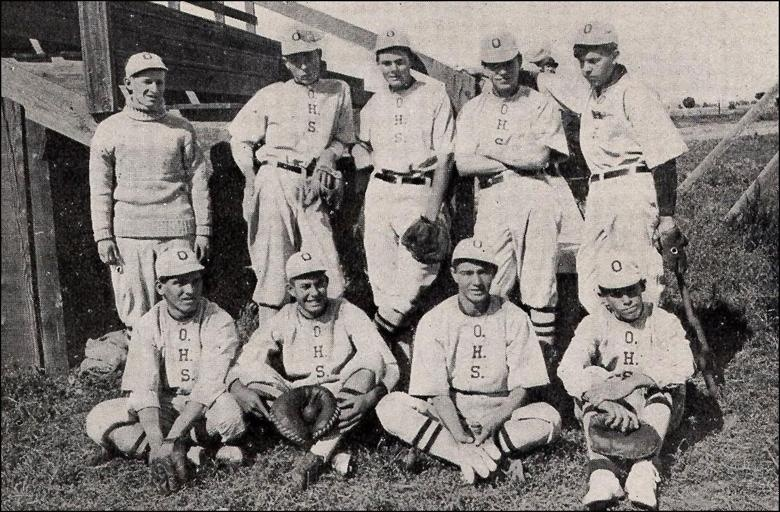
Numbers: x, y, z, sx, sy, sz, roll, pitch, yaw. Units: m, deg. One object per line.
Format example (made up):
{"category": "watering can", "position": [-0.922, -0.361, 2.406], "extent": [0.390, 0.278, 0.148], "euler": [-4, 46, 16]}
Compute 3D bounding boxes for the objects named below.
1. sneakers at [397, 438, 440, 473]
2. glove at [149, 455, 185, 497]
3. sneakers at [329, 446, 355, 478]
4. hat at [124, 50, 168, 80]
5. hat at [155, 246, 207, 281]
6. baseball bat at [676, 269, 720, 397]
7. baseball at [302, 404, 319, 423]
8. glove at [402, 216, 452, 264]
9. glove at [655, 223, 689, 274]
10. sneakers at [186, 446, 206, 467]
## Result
{"category": "sneakers", "position": [0.282, 2.072, 10.920], "extent": [0.403, 0.264, 0.142], "euler": [-2, 7, -1]}
{"category": "glove", "position": [-2.228, 2.196, 10.823], "extent": [0.306, 0.387, 0.182], "euler": [-11, 12, 15]}
{"category": "sneakers", "position": [-0.483, 2.103, 10.894], "extent": [0.226, 0.233, 0.198], "euler": [-5, 8, -24]}
{"category": "hat", "position": [-2.772, -2.120, 11.909], "extent": [0.309, 0.199, 0.407], "euler": [-5, 14, -25]}
{"category": "hat", "position": [-2.270, 0.072, 11.300], "extent": [0.337, 0.218, 0.448], "euler": [-8, 6, -34]}
{"category": "baseball bat", "position": [3.368, 0.902, 11.764], "extent": [0.154, 1.380, 0.183], "euler": [-12, -9, -23]}
{"category": "baseball", "position": [-0.805, 1.582, 10.839], "extent": [0.169, 0.160, 0.090], "euler": [-16, -2, -19]}
{"category": "glove", "position": [0.396, -0.153, 11.623], "extent": [0.460, 0.514, 0.206], "euler": [7, 21, 1]}
{"category": "glove", "position": [3.003, -0.135, 11.669], "extent": [0.414, 0.552, 0.201], "euler": [-24, 35, 2]}
{"category": "sneakers", "position": [-1.987, 2.051, 10.983], "extent": [0.184, 0.194, 0.116], "euler": [-4, 7, -10]}
